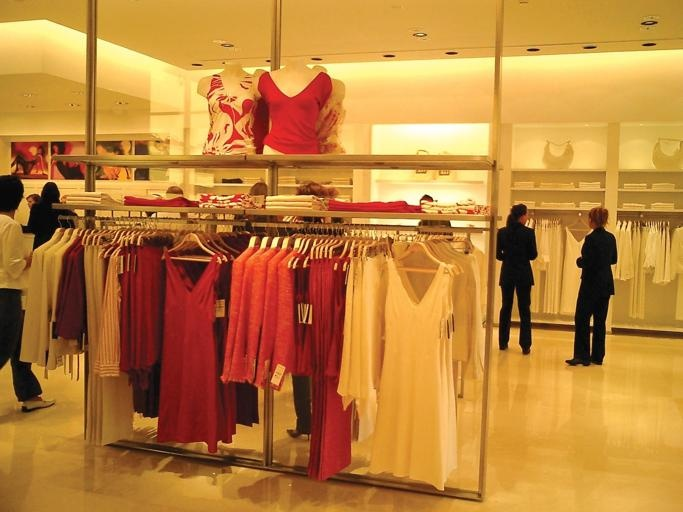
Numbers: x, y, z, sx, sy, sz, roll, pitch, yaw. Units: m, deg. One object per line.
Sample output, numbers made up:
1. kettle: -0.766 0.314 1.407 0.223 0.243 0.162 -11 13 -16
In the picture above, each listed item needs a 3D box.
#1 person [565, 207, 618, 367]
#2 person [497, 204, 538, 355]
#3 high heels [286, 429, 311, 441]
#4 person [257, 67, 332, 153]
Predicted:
1. person: 3.021 0.390 7.345 0.582 1.907 0.360 -4 11 -21
2. person: 2.277 0.299 7.985 0.557 1.958 0.482 7 12 31
3. high heels: -0.374 1.544 5.210 0.185 0.089 0.063 18 8 24
4. person: -0.364 -1.173 4.859 0.726 0.855 0.466 1 -2 4
